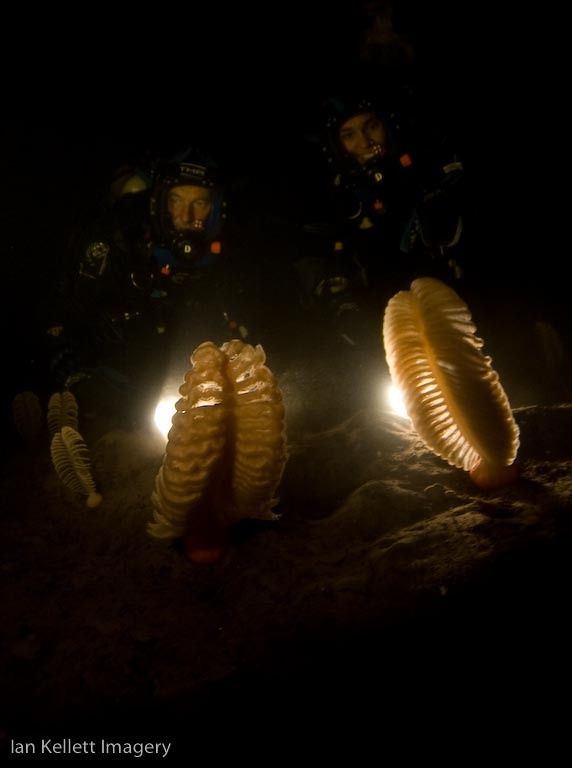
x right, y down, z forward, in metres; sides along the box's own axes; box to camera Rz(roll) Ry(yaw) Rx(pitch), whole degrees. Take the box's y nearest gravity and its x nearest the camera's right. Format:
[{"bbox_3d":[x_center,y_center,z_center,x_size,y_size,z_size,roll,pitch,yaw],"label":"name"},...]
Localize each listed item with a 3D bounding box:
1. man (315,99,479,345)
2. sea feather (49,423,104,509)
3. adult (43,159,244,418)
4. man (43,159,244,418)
[{"bbox_3d":[1.021,-1.786,7.683,1.506,1.798,0.683,6,20,2],"label":"man"},{"bbox_3d":[-1.390,0.544,5.189,0.292,0.571,0.214,-22,-15,-19],"label":"sea feather"},{"bbox_3d":[-1.219,-0.903,6.962,1.910,2.118,0.965,8,19,-25],"label":"adult"},{"bbox_3d":[-1.284,-0.882,6.950,1.910,2.118,0.965,8,19,-25],"label":"man"}]
